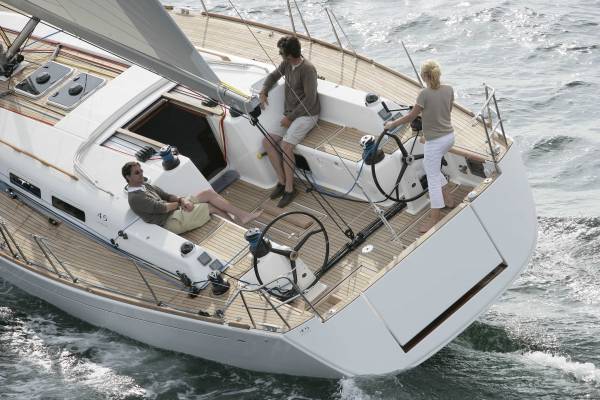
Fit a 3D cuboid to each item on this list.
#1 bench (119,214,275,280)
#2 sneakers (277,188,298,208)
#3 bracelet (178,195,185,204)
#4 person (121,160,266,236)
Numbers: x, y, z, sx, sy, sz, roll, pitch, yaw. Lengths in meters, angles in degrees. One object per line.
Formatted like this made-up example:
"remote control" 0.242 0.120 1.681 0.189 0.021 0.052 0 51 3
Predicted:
"bench" -1.228 0.435 6.817 1.227 0.432 0.749 25 34 22
"sneakers" -0.140 -0.016 7.441 0.116 0.114 0.310 36 77 23
"bracelet" -1.261 0.003 6.779 0.054 0.067 0.026 4 -2 28
"person" -1.149 -0.021 6.934 1.503 0.831 0.505 -4 19 -8
